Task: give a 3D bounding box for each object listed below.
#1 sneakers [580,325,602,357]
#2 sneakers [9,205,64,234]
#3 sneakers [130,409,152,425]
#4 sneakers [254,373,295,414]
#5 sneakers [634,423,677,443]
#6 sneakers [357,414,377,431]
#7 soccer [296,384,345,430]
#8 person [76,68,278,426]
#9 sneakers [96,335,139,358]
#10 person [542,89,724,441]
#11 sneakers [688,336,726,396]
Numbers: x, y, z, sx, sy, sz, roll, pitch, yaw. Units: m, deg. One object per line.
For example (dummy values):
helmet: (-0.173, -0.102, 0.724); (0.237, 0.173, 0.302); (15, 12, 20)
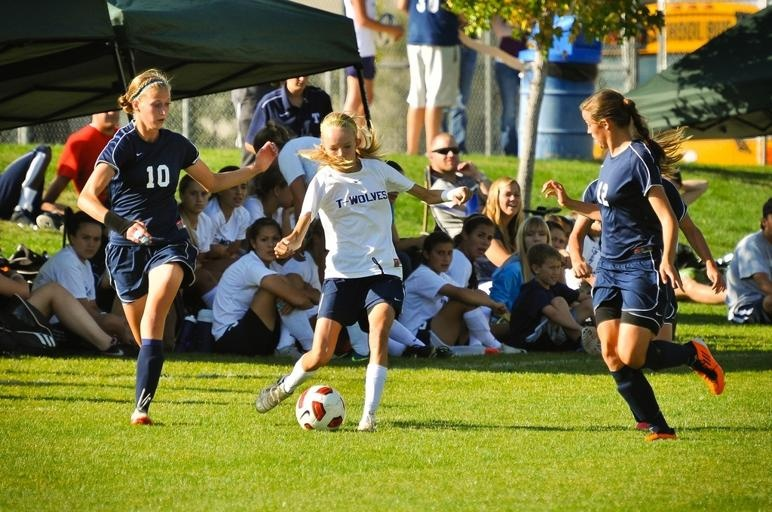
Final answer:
sneakers: (2.143, 0.892, 12.596); (0.163, 0.322, 0.136); (-9, 22, 18)
sneakers: (-4.565, -0.490, 15.798); (0.535, 0.235, 0.183); (15, -30, 16)
sneakers: (-1.951, 1.294, 9.641); (0.079, 0.089, 0.194); (0, 7, -37)
sneakers: (-0.946, 1.164, 10.068); (0.422, 0.179, 0.154); (-23, 27, -27)
sneakers: (2.144, 1.408, 9.554); (0.318, 0.139, 0.118); (10, 2, 10)
sneakers: (-0.152, 1.351, 9.712); (0.161, 0.131, 0.164); (3, 13, 7)
soccer: (-0.545, 1.219, 9.833); (0.344, 0.356, 0.348); (-15, 10, -4)
person: (-1.993, -0.162, 10.088); (0.879, 2.780, 1.379); (7, 14, 23)
sneakers: (-2.662, 0.897, 11.893); (0.431, 0.172, 0.146); (0, 12, -31)
person: (2.019, 0.110, 9.691); (1.359, 2.797, 1.026); (-1, -6, 12)
sneakers: (2.719, 0.942, 10.273); (0.208, 0.556, 0.189); (-39, 24, -18)
